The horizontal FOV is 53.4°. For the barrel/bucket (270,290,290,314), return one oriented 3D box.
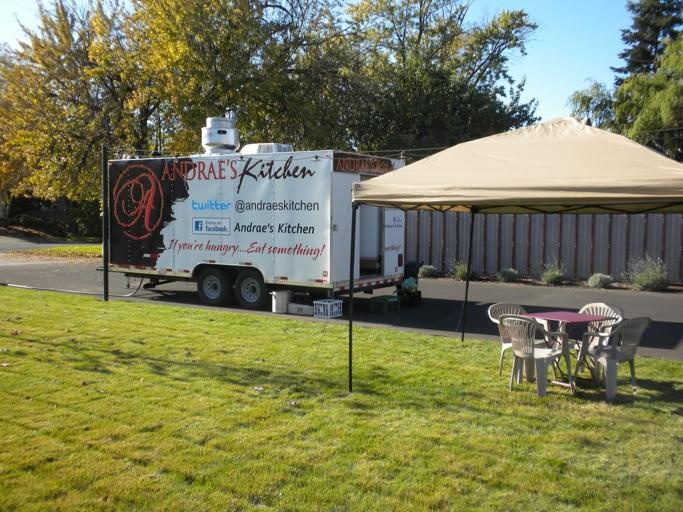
[{"bbox_3d":[-1.289,1.010,14.790,0.323,0.462,0.462,0,-4,19],"label":"barrel/bucket"}]

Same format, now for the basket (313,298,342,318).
[{"bbox_3d":[-0.286,1.110,14.089,0.381,0.318,0.422,-1,-1,17],"label":"basket"}]
